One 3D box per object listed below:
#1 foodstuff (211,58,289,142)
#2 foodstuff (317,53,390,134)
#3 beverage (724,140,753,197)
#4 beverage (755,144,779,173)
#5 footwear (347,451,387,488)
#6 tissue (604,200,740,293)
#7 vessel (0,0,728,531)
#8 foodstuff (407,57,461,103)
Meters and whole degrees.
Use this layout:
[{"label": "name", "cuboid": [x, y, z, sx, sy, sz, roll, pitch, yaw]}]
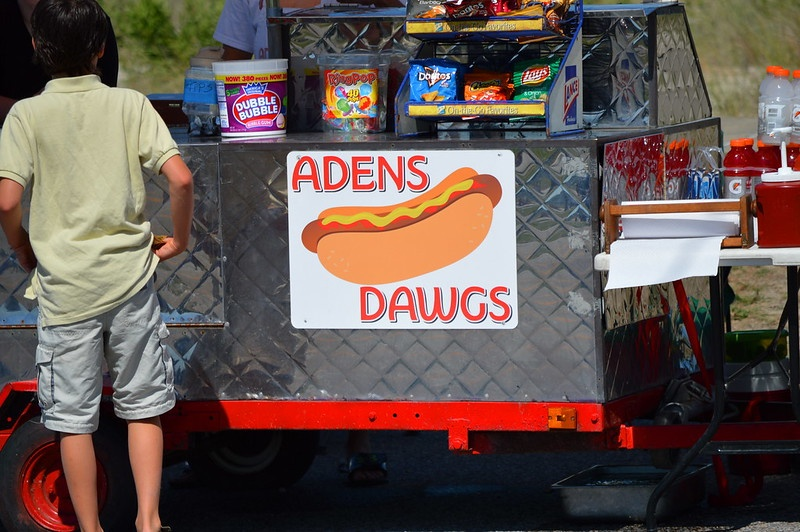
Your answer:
[{"label": "foodstuff", "cuboid": [-0.769, -0.899, 7.486, 0.446, 0.371, 0.426, 0, 8, 11]}, {"label": "foodstuff", "cuboid": [-0.176, -0.968, 7.772, 0.455, 0.462, 0.431, 1, 8, 3]}, {"label": "beverage", "cuboid": [1.808, -0.516, 7.424, 0.163, 0.316, 0.281, 0, 15, 13]}, {"label": "beverage", "cuboid": [1.972, -0.592, 7.463, 0.122, 0.132, 0.301, 1, 15, 15]}, {"label": "footwear", "cuboid": [-0.187, 1.174, 8.117, 0.241, 0.148, 0.082, 0, 3, 10]}, {"label": "tissue", "cuboid": [1.347, -0.102, 6.874, 0.533, 0.208, 0.540, 0, 36, 14]}, {"label": "vessel", "cuboid": [-0.103, 0.060, 7.107, 3.881, 2.554, 2.405, -1, 9, 6]}, {"label": "foodstuff", "cuboid": [0.186, -0.973, 7.390, 0.270, 0.225, 0.091, 2, -5, 6]}]
